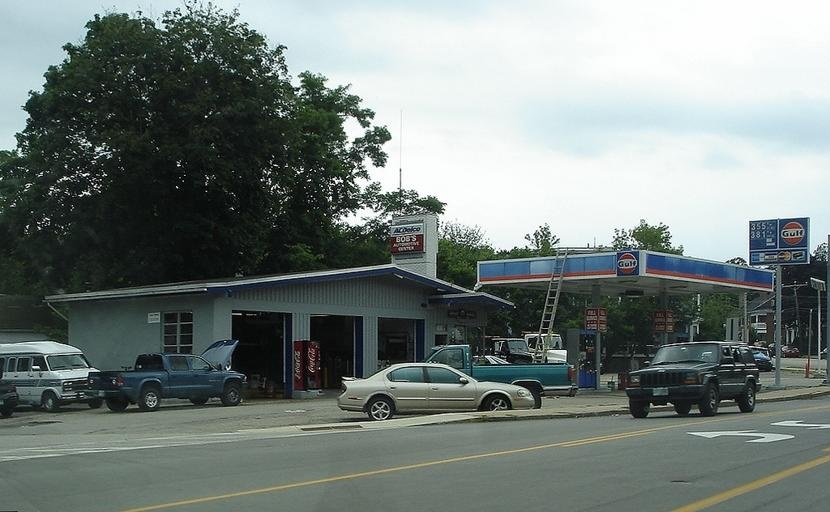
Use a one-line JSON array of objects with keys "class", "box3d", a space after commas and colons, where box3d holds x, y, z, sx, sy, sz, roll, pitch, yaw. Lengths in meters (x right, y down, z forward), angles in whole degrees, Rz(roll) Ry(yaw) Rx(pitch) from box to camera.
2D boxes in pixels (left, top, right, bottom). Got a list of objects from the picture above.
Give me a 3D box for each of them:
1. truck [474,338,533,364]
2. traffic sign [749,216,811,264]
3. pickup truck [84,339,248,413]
[{"class": "truck", "box3d": [5.700, 6.047, 59.735, 2.529, 1.362, 1.894, -6, -7, 42]}, {"class": "traffic sign", "box3d": [19.499, -0.713, 50.783, 2.944, 2.613, 0.694, -3, -1, 16]}, {"class": "pickup truck", "box3d": [-11.332, 5.566, 43.344, 6.099, 2.553, 2.808, 1, -3, -37]}]
